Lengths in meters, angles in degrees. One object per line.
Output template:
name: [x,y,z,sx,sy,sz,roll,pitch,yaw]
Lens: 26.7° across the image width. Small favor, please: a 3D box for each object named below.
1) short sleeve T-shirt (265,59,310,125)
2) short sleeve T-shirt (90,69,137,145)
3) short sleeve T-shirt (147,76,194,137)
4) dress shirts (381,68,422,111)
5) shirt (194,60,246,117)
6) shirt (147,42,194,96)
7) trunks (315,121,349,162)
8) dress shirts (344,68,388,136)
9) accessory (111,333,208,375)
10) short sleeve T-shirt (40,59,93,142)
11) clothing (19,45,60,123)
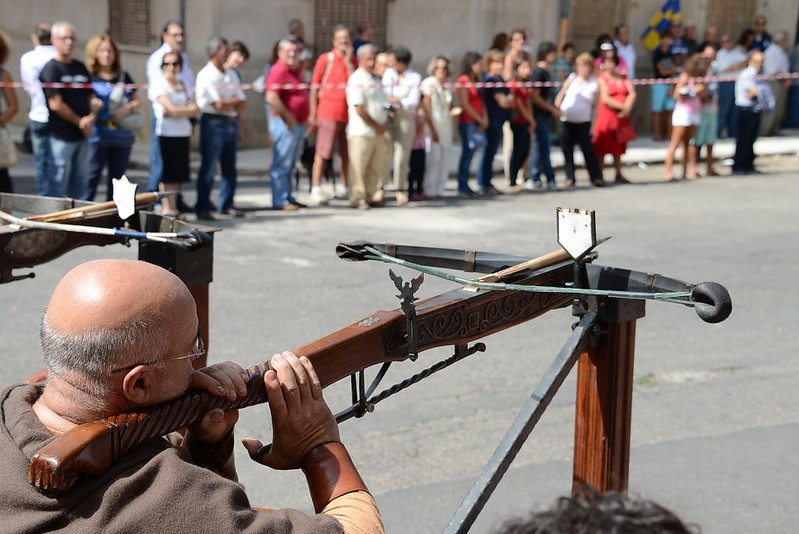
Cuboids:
short sleeve T-shirt: [-1.477,-2.264,22.056,0.429,0.793,0.782,3,33,8]
short sleeve T-shirt: [-3.507,-2.036,21.114,0.698,0.965,0.516,4,10,11]
short sleeve T-shirt: [-2.824,-1.991,20.879,0.607,0.701,0.371,-18,25,-42]
dress shirts: [0.030,-2.379,22.374,0.638,0.807,0.457,2,15,3]
shirt: [-2.328,-2.304,21.176,0.322,0.563,0.625,5,17,20]
shirt: [-2.889,-2.500,21.063,0.544,0.723,0.268,1,16,-10]
trunks: [-0.906,-1.672,22.415,0.441,0.542,0.199,-8,13,-36]
dress shirts: [-0.463,-2.127,21.973,0.412,0.698,0.642,4,28,10]
accessory: [-2.009,0.796,14.488,0.522,0.145,0.399,-10,15,-24]
short sleeve T-shirt: [-4.070,-2.044,20.601,0.387,0.898,0.731,15,26,36]
clothing: [-4.520,-2.281,20.926,0.491,0.943,0.284,0,-2,2]
